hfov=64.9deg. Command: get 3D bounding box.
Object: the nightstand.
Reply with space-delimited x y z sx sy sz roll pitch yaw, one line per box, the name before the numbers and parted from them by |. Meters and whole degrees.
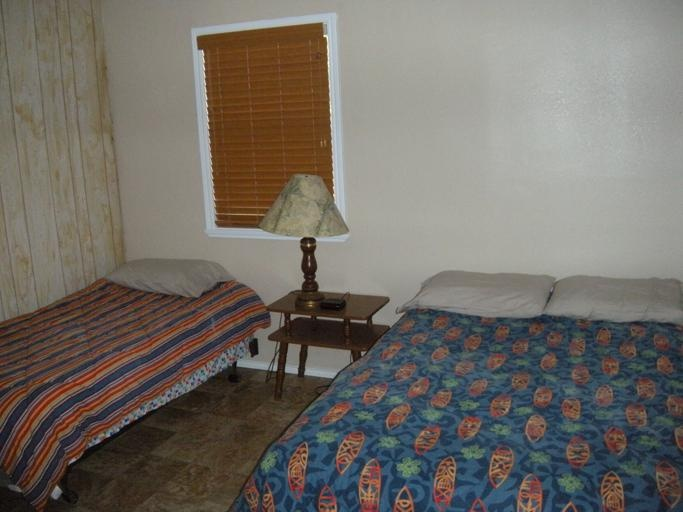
nightstand | -0.062 0.363 3.663 0.950 0.881 0.676 2 7 17
